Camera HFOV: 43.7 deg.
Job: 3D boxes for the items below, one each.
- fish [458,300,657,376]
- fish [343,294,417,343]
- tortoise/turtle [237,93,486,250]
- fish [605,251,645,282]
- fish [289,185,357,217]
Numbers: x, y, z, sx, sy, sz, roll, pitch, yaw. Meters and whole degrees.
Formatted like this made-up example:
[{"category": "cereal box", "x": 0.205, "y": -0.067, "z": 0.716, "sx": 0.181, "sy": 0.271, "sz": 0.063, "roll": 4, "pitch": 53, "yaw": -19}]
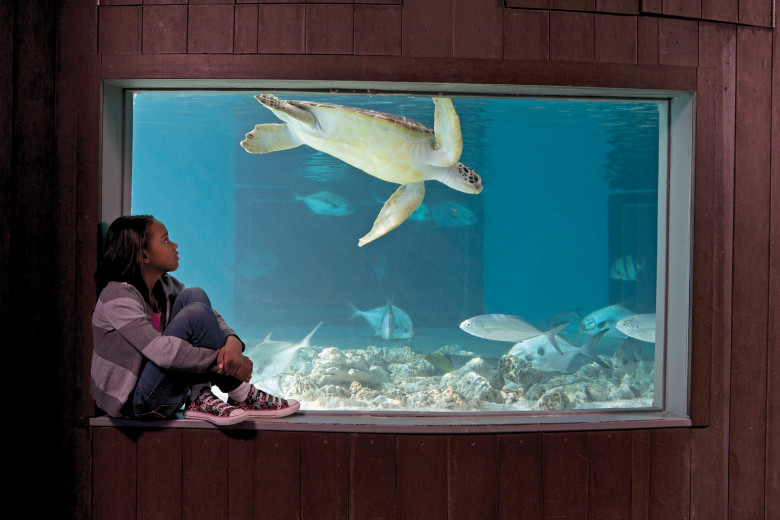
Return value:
[{"category": "fish", "x": 1.139, "y": 0.534, "z": 6.665, "sx": 1.312, "sy": 0.470, "sz": 0.145, "roll": 1, "pitch": -4, "yaw": 4}, {"category": "fish", "x": -0.056, "y": 0.419, "z": 6.771, "sx": 0.447, "sy": 0.276, "sz": 0.087, "roll": 2, "pitch": -4, "yaw": -12}, {"category": "tortoise/turtle", "x": -0.140, "y": -0.593, "z": 6.566, "sx": 1.544, "sy": 0.960, "sz": 0.574, "roll": 1, "pitch": -4, "yaw": 3}, {"category": "fish", "x": 1.604, "y": 0.053, "z": 6.606, "sx": 0.221, "sy": 0.176, "sz": 0.038, "roll": 1, "pitch": -4, "yaw": 10}, {"category": "fish", "x": -0.430, "y": -0.419, "z": 6.822, "sx": 0.440, "sy": 0.172, "sz": 0.318, "roll": 0, "pitch": 2, "yaw": -11}]
